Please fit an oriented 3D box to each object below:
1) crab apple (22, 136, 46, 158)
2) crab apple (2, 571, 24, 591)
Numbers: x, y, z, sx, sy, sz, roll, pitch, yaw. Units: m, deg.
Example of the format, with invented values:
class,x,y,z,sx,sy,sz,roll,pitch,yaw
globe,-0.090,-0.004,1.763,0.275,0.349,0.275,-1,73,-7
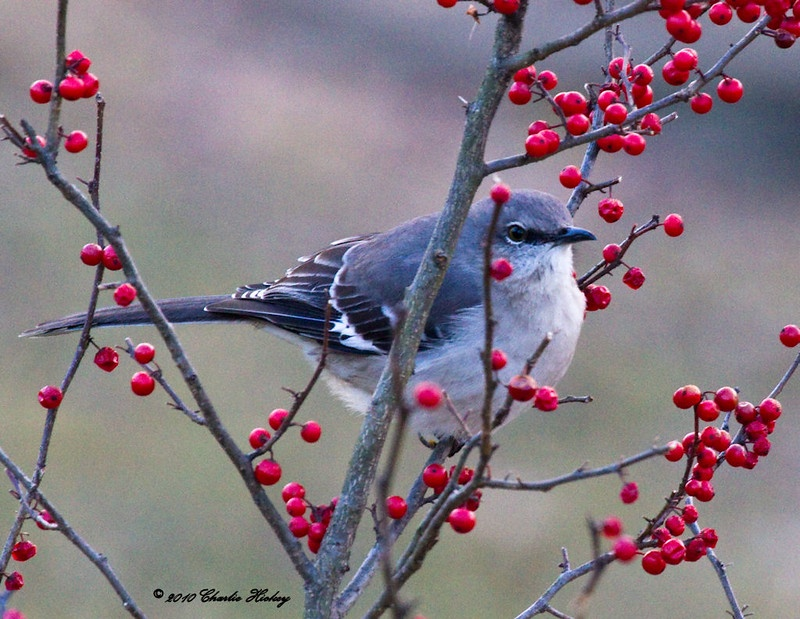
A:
class,x,y,z,sx,sy,sz,roll,pitch,yaw
crab apple,-1.522,-0.674,4.379,0.059,0.076,0.064,-18,-39,19
crab apple,-1.677,1.170,4.583,0.057,0.099,0.079,36,-87,-34
